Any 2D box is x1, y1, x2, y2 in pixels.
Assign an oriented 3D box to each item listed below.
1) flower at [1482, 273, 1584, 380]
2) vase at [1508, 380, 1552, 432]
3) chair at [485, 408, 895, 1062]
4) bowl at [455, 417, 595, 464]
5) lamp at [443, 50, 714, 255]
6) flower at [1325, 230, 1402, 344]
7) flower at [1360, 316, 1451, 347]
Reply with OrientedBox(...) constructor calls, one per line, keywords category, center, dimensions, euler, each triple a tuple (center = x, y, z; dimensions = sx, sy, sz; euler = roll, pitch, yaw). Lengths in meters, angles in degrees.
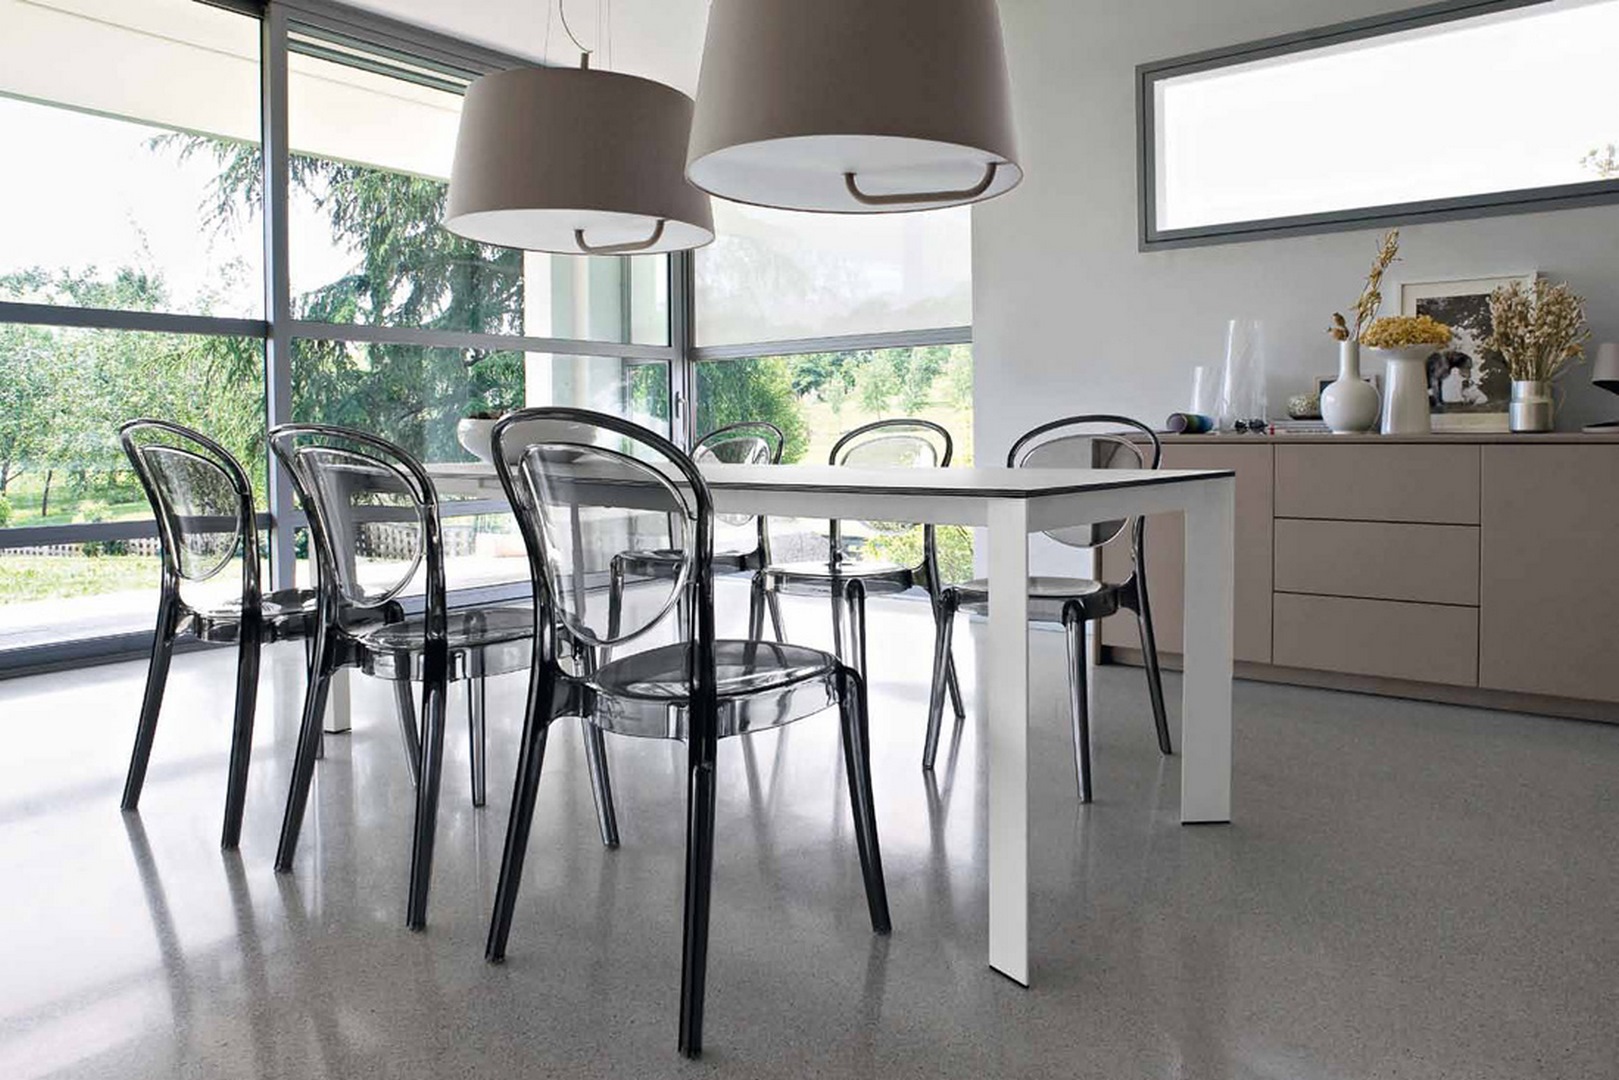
OrientedBox(category="flower", center=(2.740, -0.793, 4.208), dimensions=(0.332, 0.405, 0.469), euler=(9, 17, 33))
OrientedBox(category="vase", center=(2.616, -0.490, 4.040), dimensions=(0.128, 0.178, 0.327), euler=(8, 16, 30))
OrientedBox(category="chair", center=(-0.508, 0.195, 3.155), dimensions=(0.957, 1.284, 2.131), euler=(-5, 15, -18))
OrientedBox(category="bowl", center=(-0.779, -0.283, 3.070), dimensions=(0.287, 0.100, 0.289), euler=(0, 0, 0))
OrientedBox(category="lamp", center=(-0.697, -1.121, 3.310), dimensions=(0.796, 0.505, 0.419), euler=(-2, 14, -6))
OrientedBox(category="flower", center=(2.277, -1.046, 4.558), dimensions=(0.189, 0.526, 0.136), euler=(26, -1, -40))
OrientedBox(category="flower", center=(2.217, -0.767, 4.214), dimensions=(0.181, 0.096, 0.203), euler=(-1, 3, -3))
